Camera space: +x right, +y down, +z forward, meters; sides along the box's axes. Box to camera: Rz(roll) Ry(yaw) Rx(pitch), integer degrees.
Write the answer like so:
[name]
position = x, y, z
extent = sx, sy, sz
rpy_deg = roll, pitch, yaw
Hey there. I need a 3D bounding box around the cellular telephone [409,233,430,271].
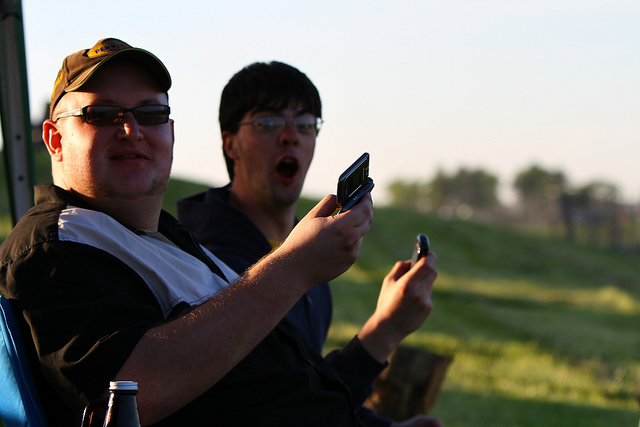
[cellular telephone]
position = 0.579, 0.262, 5.340
extent = 0.067, 0.283, 0.077
rpy_deg = 24, 42, 10
